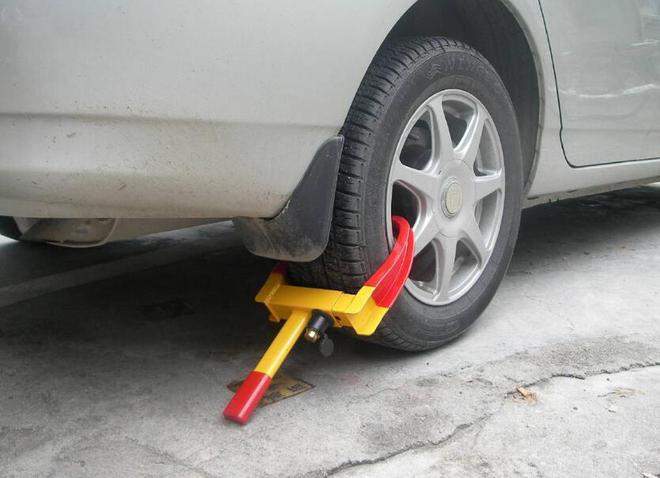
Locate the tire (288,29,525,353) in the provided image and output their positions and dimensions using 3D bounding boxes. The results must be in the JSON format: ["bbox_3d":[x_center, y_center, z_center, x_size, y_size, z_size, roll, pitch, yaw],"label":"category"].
[{"bbox_3d":[0.341,-0.148,1.964,0.343,1.103,1.112,7,7,43],"label":"tire"}]

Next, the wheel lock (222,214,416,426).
[{"bbox_3d":[-0.047,0.228,1.729,0.528,0.148,0.903,0,41,46],"label":"wheel lock"}]
